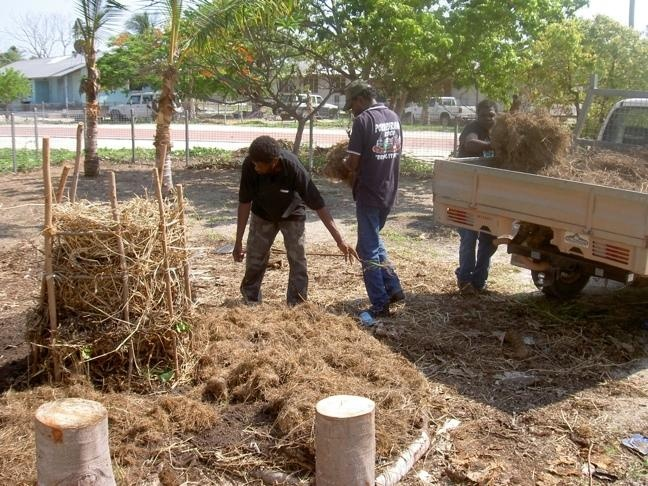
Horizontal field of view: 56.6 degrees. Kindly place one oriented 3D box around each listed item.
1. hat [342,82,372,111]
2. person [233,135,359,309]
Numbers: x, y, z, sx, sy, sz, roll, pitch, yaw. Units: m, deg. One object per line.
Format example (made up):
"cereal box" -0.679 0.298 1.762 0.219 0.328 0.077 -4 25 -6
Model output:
"hat" 0.346 -1.576 6.384 0.317 0.178 0.231 -5 27 50
"person" -0.459 -0.189 6.127 0.914 1.816 0.904 0 18 -11
